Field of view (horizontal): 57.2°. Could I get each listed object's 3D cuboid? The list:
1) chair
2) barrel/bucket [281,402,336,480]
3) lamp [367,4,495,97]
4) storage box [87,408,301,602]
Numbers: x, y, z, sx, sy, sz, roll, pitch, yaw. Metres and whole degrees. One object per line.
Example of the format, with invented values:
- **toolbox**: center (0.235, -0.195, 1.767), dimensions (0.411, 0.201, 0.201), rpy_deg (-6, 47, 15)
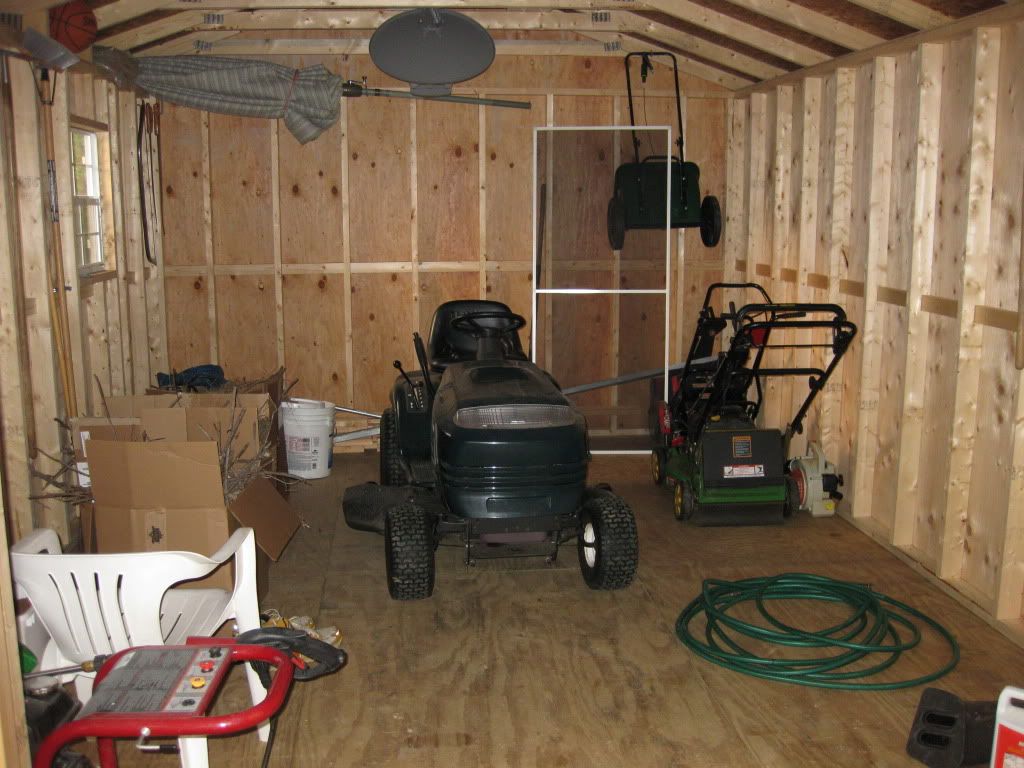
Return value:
- **chair**: center (-1.580, 0.961, 4.241), dimensions (0.937, 1.367, 0.939), rpy_deg (1, 36, -8)
- **barrel/bucket**: center (-1.635, 0.439, 7.473), dimensions (0.460, 0.734, 0.419), rpy_deg (2, 13, 0)
- **lamp**: center (-0.429, -1.797, 5.009), dimensions (0.586, 0.437, 0.275), rpy_deg (2, 27, -3)
- **storage box**: center (-1.650, 0.606, 5.166), dimensions (0.990, 1.211, 1.082), rpy_deg (1, -5, 5)
